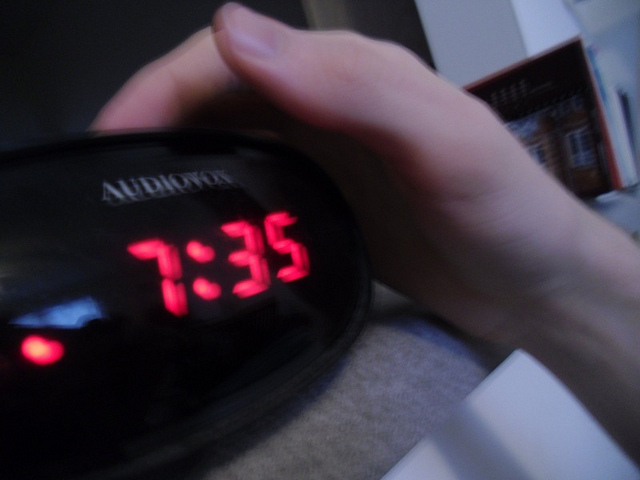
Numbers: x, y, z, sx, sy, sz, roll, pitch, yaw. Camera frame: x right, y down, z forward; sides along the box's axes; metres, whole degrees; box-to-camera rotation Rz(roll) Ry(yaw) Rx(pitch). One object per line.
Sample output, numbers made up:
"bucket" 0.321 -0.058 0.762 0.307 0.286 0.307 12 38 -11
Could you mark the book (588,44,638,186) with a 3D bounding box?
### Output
"book" 0.477 -0.194 0.861 0.021 0.195 0.248 -18 70 36
